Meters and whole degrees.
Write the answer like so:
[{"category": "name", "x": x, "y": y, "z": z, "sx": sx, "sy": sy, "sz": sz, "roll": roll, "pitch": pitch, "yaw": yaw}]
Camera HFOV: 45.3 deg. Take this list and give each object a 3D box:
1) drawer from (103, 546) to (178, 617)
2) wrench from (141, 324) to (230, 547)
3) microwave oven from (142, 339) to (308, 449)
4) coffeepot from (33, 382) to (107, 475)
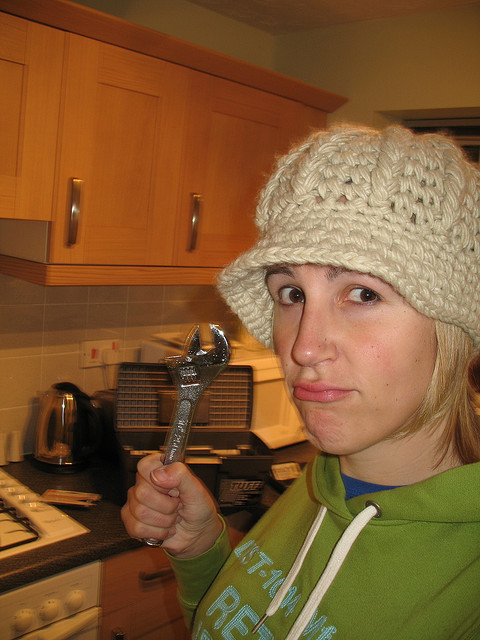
[{"category": "drawer", "x": -0.234, "y": 0.708, "z": 1.598, "sx": 0.300, "sy": 0.147, "sz": 0.150, "roll": 1, "pitch": 2, "yaw": -24}, {"category": "wrench", "x": -0.090, "y": 0.150, "z": 0.851, "sx": 0.087, "sy": 0.276, "sz": 0.023, "roll": 17, "pitch": 0, "yaw": -34}, {"category": "microwave oven", "x": -0.055, "y": 0.192, "z": 1.453, "sx": 0.472, "sy": 0.276, "sz": 0.292, "roll": 11, "pitch": -22, "yaw": -25}, {"category": "coffeepot", "x": -0.530, "y": 0.348, "z": 1.825, "sx": 0.222, "sy": 0.278, "sz": 0.181, "roll": 4, "pitch": 10, "yaw": -17}]
